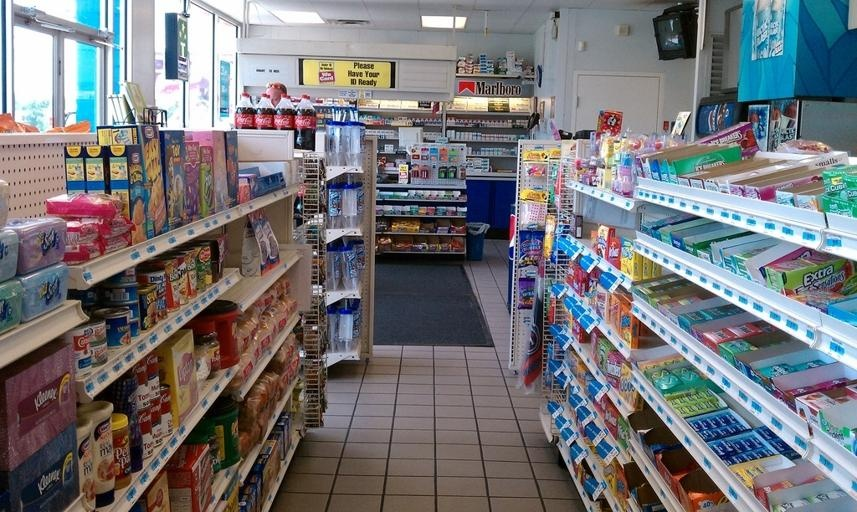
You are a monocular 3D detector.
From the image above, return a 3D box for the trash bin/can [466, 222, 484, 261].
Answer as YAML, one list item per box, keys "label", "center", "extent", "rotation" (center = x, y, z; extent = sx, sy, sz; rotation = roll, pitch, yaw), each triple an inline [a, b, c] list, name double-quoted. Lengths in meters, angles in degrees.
- label: "trash bin/can"
  center: [0.812, -0.343, 10.053]
  extent: [0.413, 0.533, 0.416]
  rotation: [-3, 23, 1]
